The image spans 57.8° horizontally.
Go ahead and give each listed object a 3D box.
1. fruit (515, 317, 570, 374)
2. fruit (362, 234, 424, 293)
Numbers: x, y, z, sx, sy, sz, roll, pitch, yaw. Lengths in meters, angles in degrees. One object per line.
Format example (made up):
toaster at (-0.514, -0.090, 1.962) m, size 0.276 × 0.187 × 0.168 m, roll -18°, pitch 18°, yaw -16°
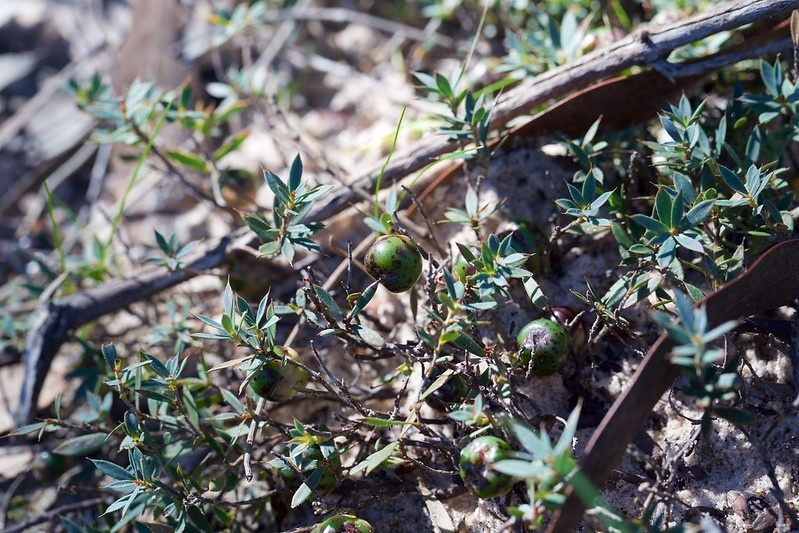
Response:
fruit at (0.498, 0.271, 2.681) m, size 0.166 × 0.197 × 0.211 m, roll 13°, pitch 27°, yaw 0°
fruit at (-0.018, -0.016, 2.612) m, size 0.172 × 0.127 × 0.152 m, roll -44°, pitch 50°, yaw -11°
